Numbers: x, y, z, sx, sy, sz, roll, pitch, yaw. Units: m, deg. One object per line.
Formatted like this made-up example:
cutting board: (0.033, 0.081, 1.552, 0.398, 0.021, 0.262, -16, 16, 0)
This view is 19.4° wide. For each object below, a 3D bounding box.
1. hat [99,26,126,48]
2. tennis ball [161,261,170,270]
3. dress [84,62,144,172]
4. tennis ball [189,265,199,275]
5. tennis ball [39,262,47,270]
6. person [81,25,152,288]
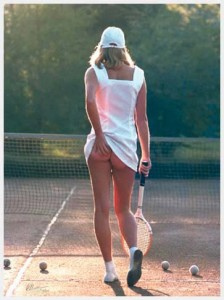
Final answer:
hat: (0.000, -1.076, 6.165, 0.241, 0.193, 0.230, -2, 12, -1)
tennis ball: (0.536, 1.162, 6.569, 0.080, 0.081, 0.090, -2, 12, -1)
dress: (0.073, -0.316, 6.100, 0.481, 1.027, 0.345, -2, 11, -1)
tennis ball: (0.798, 1.172, 6.430, 0.074, 0.082, 0.092, -1, -24, 10)
tennis ball: (-0.673, 1.147, 6.467, 0.061, 0.052, 0.061, 0, 0, 0)
person: (0.043, 0.030, 6.106, 0.556, 2.324, 0.615, 1, 12, 12)
